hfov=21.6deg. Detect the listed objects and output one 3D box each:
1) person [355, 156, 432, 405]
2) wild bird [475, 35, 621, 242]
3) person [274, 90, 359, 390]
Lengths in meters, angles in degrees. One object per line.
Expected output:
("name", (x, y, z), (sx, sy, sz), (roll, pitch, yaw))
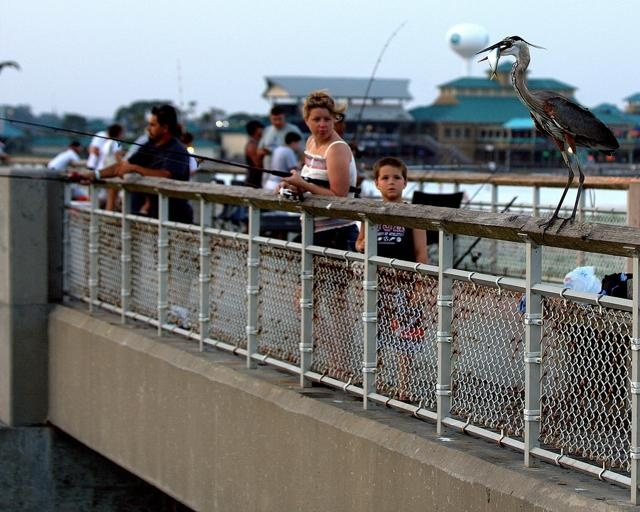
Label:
("person", (0.472, 0.122, 10.985), (0.490, 1.395, 1.268), (3, 9, 2))
("wild bird", (1.344, -0.709, 9.731), (0.832, 1.068, 0.678), (3, 9, 7))
("person", (-0.002, -0.190, 11.359), (0.528, 1.798, 1.229), (2, 9, 1))
